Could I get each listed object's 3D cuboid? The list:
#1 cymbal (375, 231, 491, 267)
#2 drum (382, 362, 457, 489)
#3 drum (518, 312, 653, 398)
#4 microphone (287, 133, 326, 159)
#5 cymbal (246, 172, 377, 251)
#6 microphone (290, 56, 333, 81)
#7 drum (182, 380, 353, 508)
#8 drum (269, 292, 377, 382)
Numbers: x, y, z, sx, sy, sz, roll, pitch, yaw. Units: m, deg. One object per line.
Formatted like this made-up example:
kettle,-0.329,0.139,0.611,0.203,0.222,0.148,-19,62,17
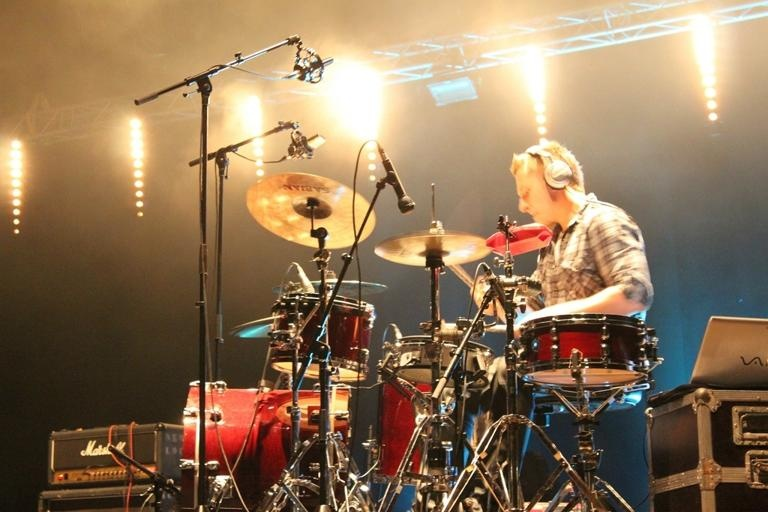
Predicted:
cymbal,0.341,0.005,10.333,0.774,0.249,0.835,2,-6,-41
drum,0.222,1.300,10.239,0.507,0.790,0.439,-4,1,-9
drum,1.406,0.684,9.561,0.966,0.527,0.387,-6,-2,3
microphone,-0.606,-0.811,10.322,0.271,0.180,0.106,-24,-8,3
cymbal,-0.562,-0.330,10.390,0.762,0.156,0.714,-3,-35,19
microphone,-0.556,-1.393,10.370,0.331,0.178,0.264,-6,-2,0
drum,-0.843,1.337,10.777,1.387,1.022,0.992,0,-2,8
drum,-0.487,0.576,10.348,0.652,0.743,0.989,2,-1,-38
